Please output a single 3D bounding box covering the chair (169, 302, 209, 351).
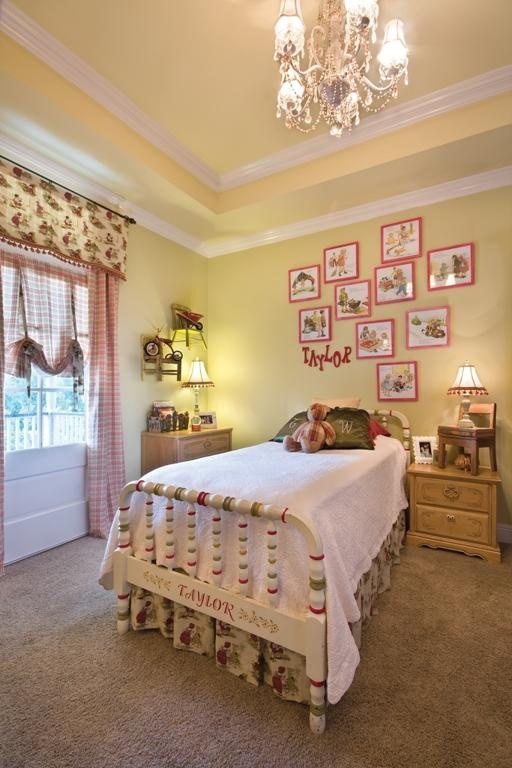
[{"bbox_3d":[-0.528,-0.462,4.516,0.297,0.473,0.312,-5,-7,34],"label":"chair"}]

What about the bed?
[{"bbox_3d":[0.098,0.700,2.517,1.188,0.716,1.223,5,10,33],"label":"bed"}]

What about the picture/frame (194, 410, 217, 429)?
[{"bbox_3d":[-0.403,0.286,4.223,0.137,0.123,0.049,2,-31,-12],"label":"picture/frame"}]

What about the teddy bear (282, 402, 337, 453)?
[{"bbox_3d":[0.345,0.264,3.180,0.282,0.257,0.413,-6,37,19],"label":"teddy bear"}]

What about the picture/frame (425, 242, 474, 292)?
[{"bbox_3d":[1.288,-0.762,3.495,0.337,0.351,0.023,-2,-4,43],"label":"picture/frame"}]

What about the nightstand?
[{"bbox_3d":[1.181,0.695,3.307,0.605,0.619,0.432,-2,-6,33],"label":"nightstand"}]

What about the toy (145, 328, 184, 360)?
[{"bbox_3d":[-0.727,-0.287,4.124,0.135,0.180,0.281,-4,-6,40],"label":"toy"}]

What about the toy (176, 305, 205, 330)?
[{"bbox_3d":[-0.551,-0.544,4.383,0.186,0.083,0.171,-2,-1,27],"label":"toy"}]

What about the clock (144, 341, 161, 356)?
[{"bbox_3d":[-0.788,-0.266,4.028,0.045,0.110,0.154,5,10,35],"label":"clock"}]

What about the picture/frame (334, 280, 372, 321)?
[{"bbox_3d":[0.727,-0.616,3.919,0.299,0.308,0.031,2,2,38],"label":"picture/frame"}]

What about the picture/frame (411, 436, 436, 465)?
[{"bbox_3d":[1.097,0.428,3.455,0.177,0.222,0.019,-1,-10,33],"label":"picture/frame"}]
